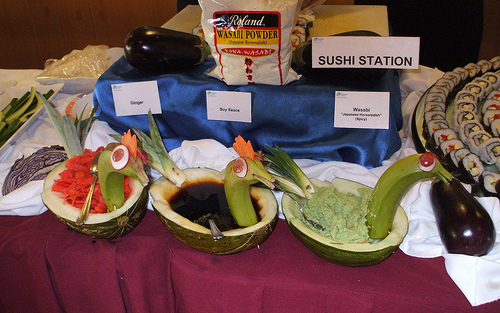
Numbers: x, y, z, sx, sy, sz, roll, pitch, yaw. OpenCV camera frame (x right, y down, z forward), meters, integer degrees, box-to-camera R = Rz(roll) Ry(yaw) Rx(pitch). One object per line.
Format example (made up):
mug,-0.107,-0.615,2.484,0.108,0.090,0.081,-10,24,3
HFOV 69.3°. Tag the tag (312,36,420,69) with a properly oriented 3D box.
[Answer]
tag,0.320,-0.293,1.018,0.288,0.083,0.023,3,33,11

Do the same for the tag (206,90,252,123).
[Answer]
tag,-0.065,-0.159,1.147,0.148,0.105,0.004,-1,-2,-12

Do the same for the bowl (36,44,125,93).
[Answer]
bowl,-0.721,-0.379,1.562,0.294,0.130,0.317,-3,33,2

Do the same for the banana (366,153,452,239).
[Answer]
banana,0.387,0.108,0.915,0.190,0.258,0.080,1,32,13

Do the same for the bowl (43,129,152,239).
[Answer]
bowl,-0.409,0.100,0.964,0.285,0.189,0.249,-10,48,0

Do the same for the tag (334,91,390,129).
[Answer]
tag,0.326,-0.135,1.056,0.153,0.107,0.034,2,33,9

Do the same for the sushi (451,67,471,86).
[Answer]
sushi,0.714,-0.275,1.229,0.051,0.021,0.070,-5,76,-9

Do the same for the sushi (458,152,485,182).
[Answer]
sushi,0.623,0.030,1.021,0.065,0.065,0.101,8,33,29

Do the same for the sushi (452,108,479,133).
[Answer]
sushi,0.644,-0.120,1.091,0.070,0.019,0.070,-5,60,3

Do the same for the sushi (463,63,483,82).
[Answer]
sushi,0.768,-0.294,1.257,0.059,0.018,0.059,-18,77,-9

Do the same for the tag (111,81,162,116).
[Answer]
tag,-0.369,-0.185,1.182,0.162,0.117,0.006,-2,8,1

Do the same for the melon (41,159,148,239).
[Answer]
melon,-0.422,0.056,0.948,0.214,0.133,0.213,-10,41,-36

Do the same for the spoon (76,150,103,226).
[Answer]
spoon,-0.411,0.096,0.947,0.041,0.234,0.030,9,0,11

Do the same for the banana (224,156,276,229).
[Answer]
banana,-0.001,0.085,0.911,0.119,0.164,0.104,-11,33,-10

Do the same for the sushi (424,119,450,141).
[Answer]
sushi,0.563,-0.071,1.072,0.064,0.064,0.017,1,-11,-1

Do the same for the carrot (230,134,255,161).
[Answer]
carrot,-0.026,-0.028,0.914,0.014,0.045,0.069,-11,2,31

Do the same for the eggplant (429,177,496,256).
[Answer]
eggplant,0.517,0.152,0.889,0.131,0.175,0.174,3,28,6

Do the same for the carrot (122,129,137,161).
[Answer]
carrot,-0.305,-0.031,0.915,0.031,0.013,0.079,-25,60,9

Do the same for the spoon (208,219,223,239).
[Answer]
spoon,-0.081,0.177,0.871,0.019,0.059,0.016,-18,13,12

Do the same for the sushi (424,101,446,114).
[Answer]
sushi,0.573,-0.156,1.123,0.044,0.014,0.044,0,65,17

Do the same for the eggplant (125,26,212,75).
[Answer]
eggplant,-0.275,-0.361,1.226,0.298,0.153,0.155,-12,40,-18

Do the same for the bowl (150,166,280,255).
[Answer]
bowl,-0.134,0.150,0.921,0.271,0.144,0.344,-10,22,-32

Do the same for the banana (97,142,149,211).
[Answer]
banana,-0.356,0.050,0.955,0.041,0.167,0.112,2,30,23

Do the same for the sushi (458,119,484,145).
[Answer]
sushi,0.652,-0.061,1.060,0.066,0.018,0.071,-2,68,7
